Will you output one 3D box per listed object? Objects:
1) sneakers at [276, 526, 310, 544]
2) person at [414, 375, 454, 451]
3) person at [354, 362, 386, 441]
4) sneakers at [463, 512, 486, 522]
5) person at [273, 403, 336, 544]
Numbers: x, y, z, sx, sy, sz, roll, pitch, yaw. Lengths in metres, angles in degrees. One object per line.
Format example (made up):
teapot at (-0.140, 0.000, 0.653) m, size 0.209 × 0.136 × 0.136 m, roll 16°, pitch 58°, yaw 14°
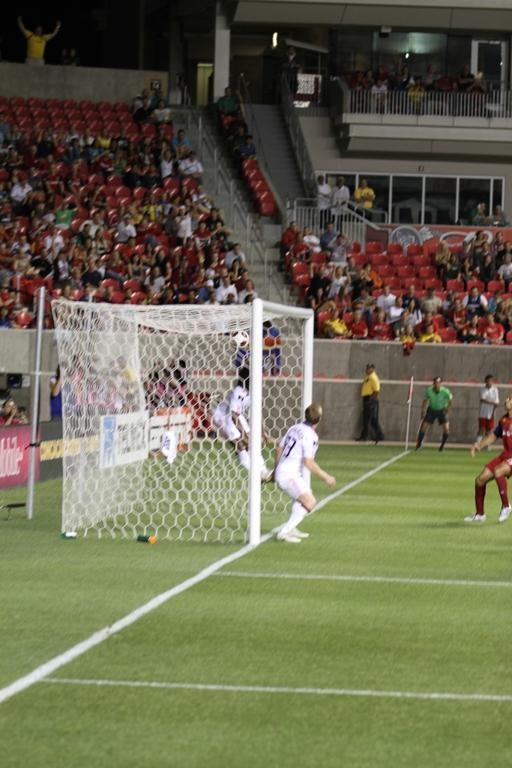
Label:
sneakers at (0.334, 1.420, 9.119) m, size 0.246 × 0.103 × 0.150 m, roll 2°, pitch 5°, yaw -27°
person at (3.806, 0.597, 20.649) m, size 0.726 × 1.521 × 2.814 m, roll 1°, pitch 1°, yaw 11°
person at (2.519, 0.422, 21.330) m, size 0.556 × 1.731 × 1.287 m, roll 1°, pitch 0°, yaw 7°
sneakers at (2.415, 1.462, 10.695) m, size 0.273 × 0.121 × 0.103 m, roll 1°, pitch 4°, yaw 8°
person at (0.385, 0.833, 9.144) m, size 0.440 × 1.315 × 0.919 m, roll 1°, pitch 0°, yaw 1°
